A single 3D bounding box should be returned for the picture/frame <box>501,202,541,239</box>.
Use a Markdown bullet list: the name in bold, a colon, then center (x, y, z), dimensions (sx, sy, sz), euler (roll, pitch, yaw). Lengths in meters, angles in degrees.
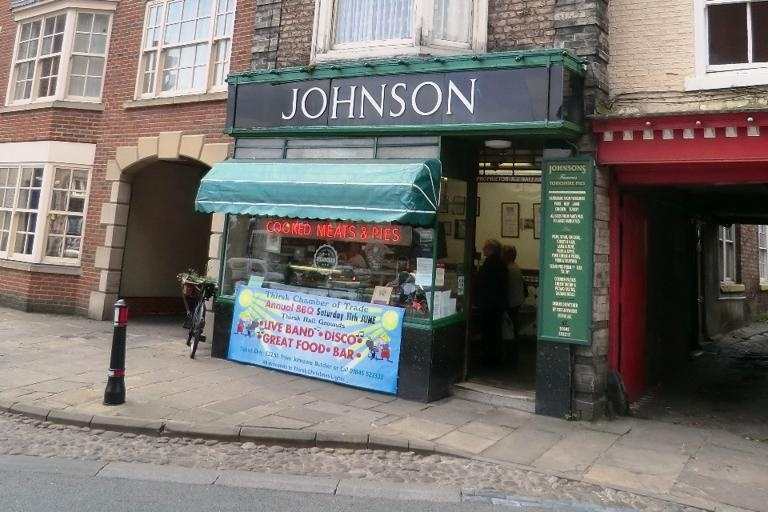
- **picture/frame**: center (3.157, -0.808, 13.668), dimensions (1.119, 0.764, 0.068), euler (1, -3, 10)
